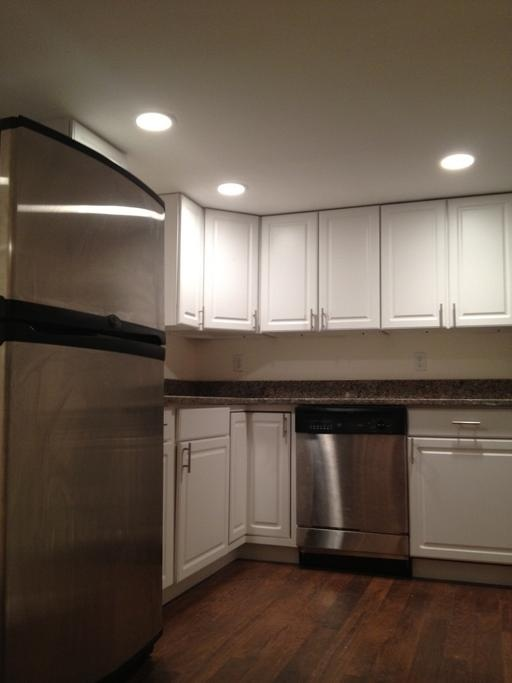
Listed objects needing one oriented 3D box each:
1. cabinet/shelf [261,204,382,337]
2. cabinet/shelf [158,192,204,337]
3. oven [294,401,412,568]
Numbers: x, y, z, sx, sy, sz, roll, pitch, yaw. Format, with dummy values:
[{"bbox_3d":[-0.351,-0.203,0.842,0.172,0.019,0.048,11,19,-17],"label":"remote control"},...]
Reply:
[{"bbox_3d":[0.402,-0.420,3.380,0.623,0.666,0.281,-2,-5,21],"label":"cabinet/shelf"},{"bbox_3d":[-0.410,-0.317,3.215,0.152,0.430,0.221,1,0,36],"label":"cabinet/shelf"},{"bbox_3d":[0.544,0.720,3.149,0.645,0.899,0.669,-1,2,3],"label":"oven"}]
